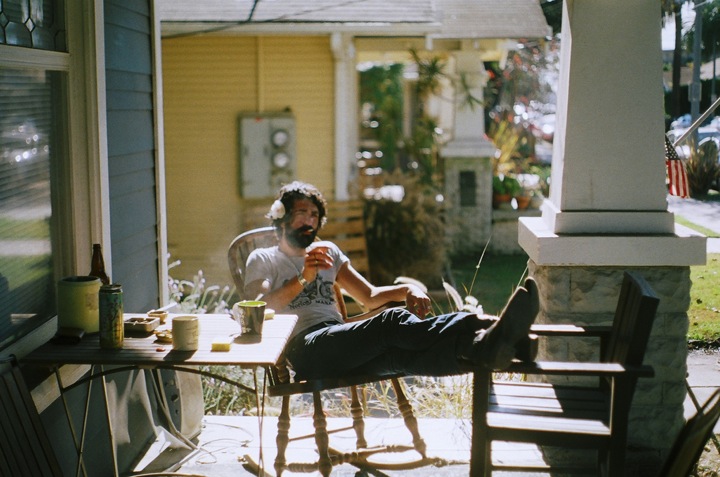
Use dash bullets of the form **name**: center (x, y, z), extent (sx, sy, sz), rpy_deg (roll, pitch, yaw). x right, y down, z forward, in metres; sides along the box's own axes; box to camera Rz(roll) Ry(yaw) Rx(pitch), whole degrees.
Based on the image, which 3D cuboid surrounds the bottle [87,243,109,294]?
- **bottle**: center (-1.433, 0.147, 4.038), extent (0.094, 0.228, 0.327), rpy_deg (-3, 9, -20)

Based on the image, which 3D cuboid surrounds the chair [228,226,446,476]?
- **chair**: center (-0.043, 0.805, 5.229), extent (1.451, 2.112, 1.278), rpy_deg (-10, -9, 43)

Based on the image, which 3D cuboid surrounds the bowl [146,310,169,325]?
- **bowl**: center (-1.123, 0.435, 4.091), extent (0.077, 0.039, 0.087), rpy_deg (1, 0, 7)

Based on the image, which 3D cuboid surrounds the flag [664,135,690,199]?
- **flag**: center (2.297, -0.507, 5.337), extent (0.165, 0.445, 0.401), rpy_deg (3, 9, 22)

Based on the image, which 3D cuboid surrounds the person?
- **person**: center (0.122, 0.228, 4.447), extent (1.822, 1.292, 0.824), rpy_deg (-8, -10, 35)

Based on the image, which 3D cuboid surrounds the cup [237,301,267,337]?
- **cup**: center (-0.595, 0.431, 4.000), extent (0.168, 0.180, 0.162), rpy_deg (1, 8, 0)

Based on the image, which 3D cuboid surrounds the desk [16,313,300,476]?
- **desk**: center (-0.993, 1.090, 3.829), extent (1.156, 0.903, 0.944), rpy_deg (1, 15, 1)

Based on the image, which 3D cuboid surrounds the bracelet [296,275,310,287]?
- **bracelet**: center (-0.344, 0.259, 4.438), extent (0.017, 0.063, 0.065), rpy_deg (-39, 5, -28)

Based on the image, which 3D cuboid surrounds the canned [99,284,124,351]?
- **canned**: center (-1.282, 0.405, 3.788), extent (0.124, 0.309, 0.141), rpy_deg (-4, 9, -21)

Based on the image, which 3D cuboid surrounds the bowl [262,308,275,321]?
- **bowl**: center (-0.519, 0.431, 4.143), extent (0.077, 0.034, 0.091), rpy_deg (0, 3, 1)

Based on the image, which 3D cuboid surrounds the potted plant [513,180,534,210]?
- **potted plant**: center (2.335, -0.603, 10.429), extent (0.324, 0.266, 0.336), rpy_deg (0, 9, -1)

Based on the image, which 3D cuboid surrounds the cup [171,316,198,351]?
- **cup**: center (-0.897, 0.489, 3.823), extent (0.157, 0.162, 0.141), rpy_deg (-3, 9, -29)

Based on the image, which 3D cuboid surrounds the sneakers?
- **sneakers**: center (0.907, 0.529, 4.489), extent (0.161, 0.502, 0.212), rpy_deg (28, 5, 0)

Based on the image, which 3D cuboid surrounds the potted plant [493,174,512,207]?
- **potted plant**: center (2.020, -0.674, 10.529), extent (0.358, 0.286, 0.355), rpy_deg (0, 14, 3)
